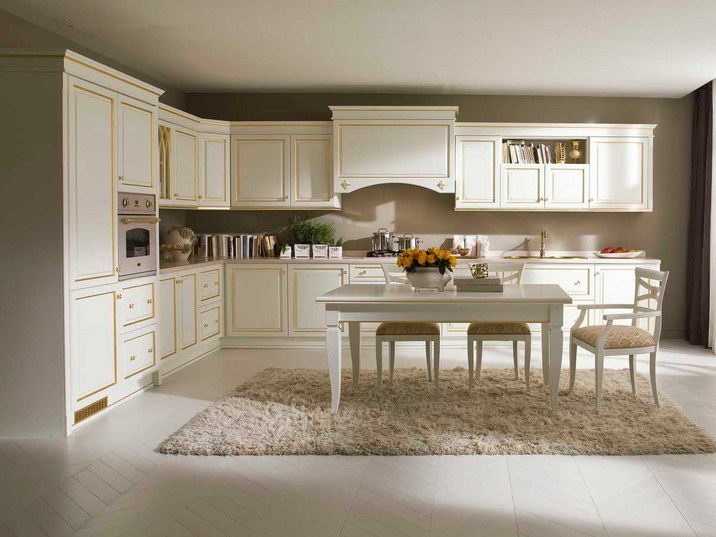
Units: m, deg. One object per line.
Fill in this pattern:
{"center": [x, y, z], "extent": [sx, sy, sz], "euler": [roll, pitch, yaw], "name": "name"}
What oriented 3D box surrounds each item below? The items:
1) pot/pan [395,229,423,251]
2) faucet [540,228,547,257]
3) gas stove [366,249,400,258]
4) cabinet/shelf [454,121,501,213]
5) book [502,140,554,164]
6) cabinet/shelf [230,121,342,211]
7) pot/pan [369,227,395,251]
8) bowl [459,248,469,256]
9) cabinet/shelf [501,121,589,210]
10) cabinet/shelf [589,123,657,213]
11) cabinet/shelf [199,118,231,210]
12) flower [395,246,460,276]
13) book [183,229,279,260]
{"center": [0.607, -0.313, 6.675], "extent": [0.303, 0.209, 0.310], "euler": [0, 1, 38], "name": "pot/pan"}
{"center": [2.222, -0.303, 6.705], "extent": [0.088, 0.314, 0.280], "euler": [3, 13, 18], "name": "faucet"}
{"center": [0.282, -0.166, 6.516], "extent": [0.360, 0.070, 0.302], "euler": [-1, 11, -4], "name": "gas stove"}
{"center": [1.386, -1.152, 6.451], "extent": [0.520, 0.906, 0.149], "euler": [1, 13, 8], "name": "cabinet/shelf"}
{"center": [1.969, -1.326, 6.506], "extent": [0.340, 0.133, 0.415], "euler": [1, 4, 5], "name": "book"}
{"center": [-0.814, -1.232, 6.502], "extent": [1.117, 0.838, 0.408], "euler": [0, -1, 2], "name": "cabinet/shelf"}
{"center": [0.287, -0.341, 6.680], "extent": [0.301, 0.272, 0.266], "euler": [0, -2, -3], "name": "pot/pan"}
{"center": [1.266, -0.192, 6.677], "extent": [0.085, 0.089, 0.103], "euler": [1, 23, -2], "name": "bowl"}
{"center": [2.147, -1.158, 6.471], "extent": [1.134, 0.950, 0.357], "euler": [0, -2, 1], "name": "cabinet/shelf"}
{"center": [3.036, -1.153, 6.444], "extent": [0.711, 0.958, 0.198], "euler": [-1, 13, -2], "name": "cabinet/shelf"}
{"center": [-1.644, -1.181, 6.409], "extent": [0.437, 0.986, 0.179], "euler": [-7, 14, -25], "name": "cabinet/shelf"}
{"center": [0.526, -0.057, 4.350], "extent": [0.432, 0.211, 0.223], "euler": [0, 12, 3], "name": "flower"}
{"center": [-1.448, -0.262, 6.559], "extent": [0.996, 0.261, 0.337], "euler": [-4, 12, -15], "name": "book"}
